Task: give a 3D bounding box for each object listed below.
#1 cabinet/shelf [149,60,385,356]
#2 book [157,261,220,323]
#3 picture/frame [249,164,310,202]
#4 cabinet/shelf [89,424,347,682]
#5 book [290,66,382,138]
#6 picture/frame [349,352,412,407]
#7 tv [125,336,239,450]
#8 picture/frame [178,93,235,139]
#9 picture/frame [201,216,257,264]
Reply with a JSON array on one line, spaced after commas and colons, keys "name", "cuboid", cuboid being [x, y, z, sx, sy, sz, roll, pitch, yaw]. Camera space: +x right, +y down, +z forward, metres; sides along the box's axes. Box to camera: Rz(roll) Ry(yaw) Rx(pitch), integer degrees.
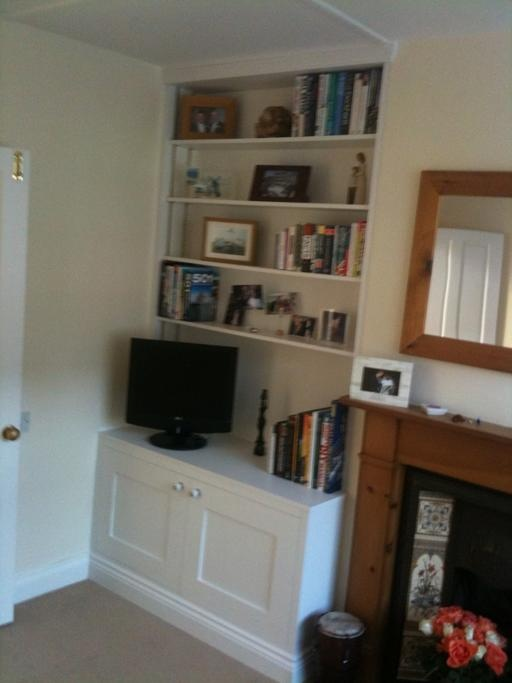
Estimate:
[{"name": "cabinet/shelf", "cuboid": [0.063, -0.610, 2.576, 1.124, 1.288, 0.288, 20, 22, 35]}, {"name": "book", "cuboid": [-0.332, -0.249, 3.038, 0.316, 0.400, 0.306, 0, 8, -40]}, {"name": "picture/frame", "cuboid": [0.099, -0.685, 2.525, 0.257, 0.176, 0.184, 7, 4, 3]}, {"name": "cabinet/shelf", "cuboid": [-0.136, 0.908, 2.424, 0.959, 0.599, 0.341, 15, 3, 36]}, {"name": "book", "cuboid": [0.325, -0.934, 2.257, 0.294, 0.251, 0.138, 17, 24, 32]}, {"name": "picture/frame", "cuboid": [0.454, 0.149, 2.120, 0.218, 0.161, 0.009, 0, -16, 41]}, {"name": "tv", "cuboid": [-0.356, 0.256, 2.757, 0.518, 0.449, 0.264, 8, 6, 14]}, {"name": "picture/frame", "cuboid": [-0.230, -1.076, 2.782, 0.252, 0.158, 0.141, 6, 10, 23]}, {"name": "picture/frame", "cuboid": [-0.125, -0.465, 2.727, 0.310, 0.208, 0.032, 11, 12, 31]}]
